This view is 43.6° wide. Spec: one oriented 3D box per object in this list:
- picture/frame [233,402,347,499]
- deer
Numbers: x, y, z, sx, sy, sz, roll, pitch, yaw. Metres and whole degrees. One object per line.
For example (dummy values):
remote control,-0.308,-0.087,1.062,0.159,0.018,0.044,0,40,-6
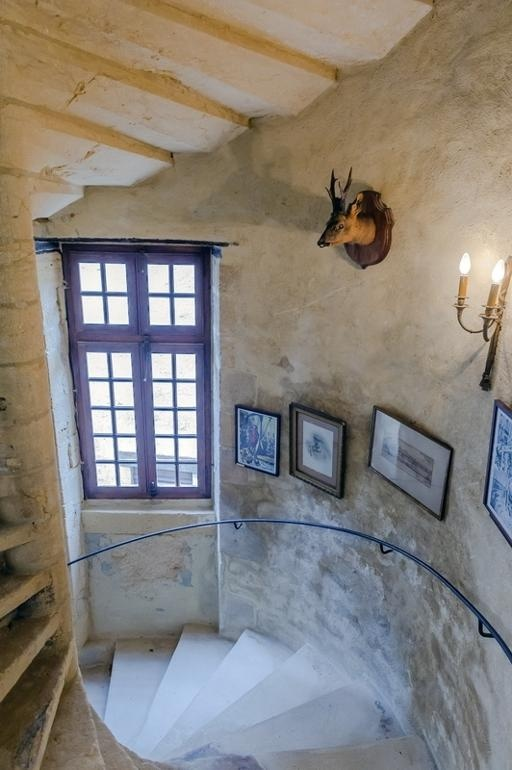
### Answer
picture/frame,0.206,0.347,3.596,0.039,0.345,0.568,-20,27,-41
deer,0.403,-0.786,2.806,0.271,0.335,0.233,-16,52,-13
